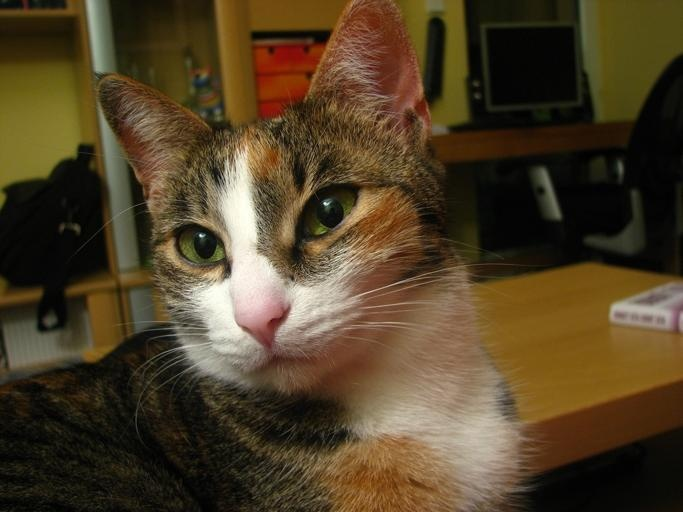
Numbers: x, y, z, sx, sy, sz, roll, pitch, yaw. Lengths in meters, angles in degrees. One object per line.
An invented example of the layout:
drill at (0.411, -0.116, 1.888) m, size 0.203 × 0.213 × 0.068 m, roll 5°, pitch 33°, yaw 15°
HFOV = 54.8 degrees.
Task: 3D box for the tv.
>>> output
tv at (0.262, -0.262, 0.934) m, size 0.128 × 0.117 × 0.013 m, roll -3°, pitch 7°, yaw -6°
